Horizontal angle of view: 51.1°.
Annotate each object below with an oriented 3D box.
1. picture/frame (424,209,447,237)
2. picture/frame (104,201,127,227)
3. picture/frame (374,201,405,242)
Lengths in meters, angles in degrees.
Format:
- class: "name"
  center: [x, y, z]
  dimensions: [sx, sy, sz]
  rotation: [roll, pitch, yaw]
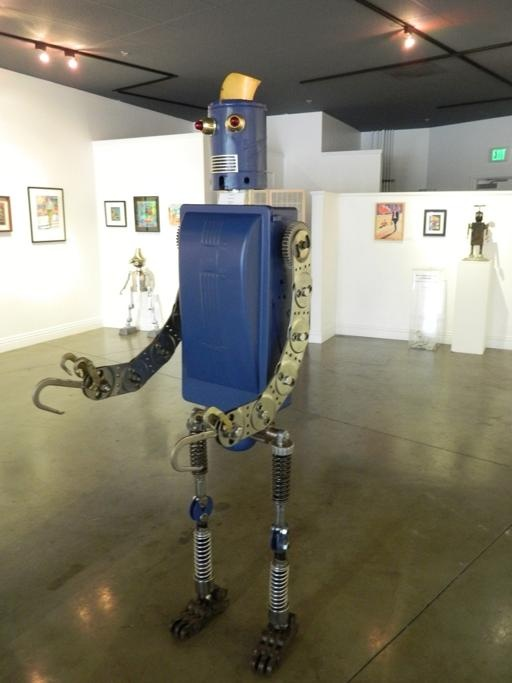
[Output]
- class: "picture/frame"
  center: [2.263, -1.509, 6.719]
  dimensions: [0.317, 0.391, 0.028]
  rotation: [6, 14, 28]
- class: "picture/frame"
  center: [-1.947, -1.785, 7.495]
  dimensions: [0.401, 0.352, 0.028]
  rotation: [5, 12, 29]
- class: "picture/frame"
  center: [1.752, -1.580, 6.954]
  dimensions: [0.480, 0.668, 0.034]
  rotation: [5, 9, 23]
